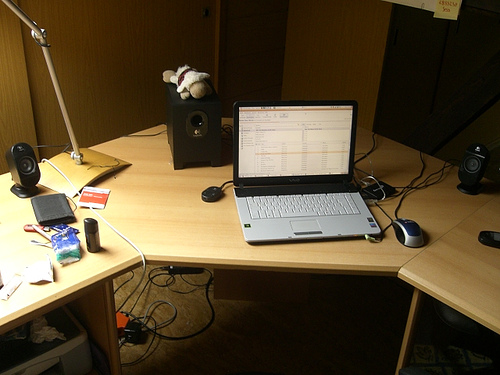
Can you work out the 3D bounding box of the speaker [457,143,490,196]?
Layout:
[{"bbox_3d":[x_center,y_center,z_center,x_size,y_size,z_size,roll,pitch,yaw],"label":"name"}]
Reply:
[{"bbox_3d":[0.990,-0.101,1.694,0.117,0.208,0.106,-10,25,-27],"label":"speaker"}]

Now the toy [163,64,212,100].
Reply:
[{"bbox_3d":[-0.281,-0.502,1.751,0.198,0.098,0.249,-18,50,-20],"label":"toy"}]

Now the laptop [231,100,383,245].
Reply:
[{"bbox_3d":[0.210,-0.090,1.450,0.531,0.379,0.432,-4,29,-9],"label":"laptop"}]
